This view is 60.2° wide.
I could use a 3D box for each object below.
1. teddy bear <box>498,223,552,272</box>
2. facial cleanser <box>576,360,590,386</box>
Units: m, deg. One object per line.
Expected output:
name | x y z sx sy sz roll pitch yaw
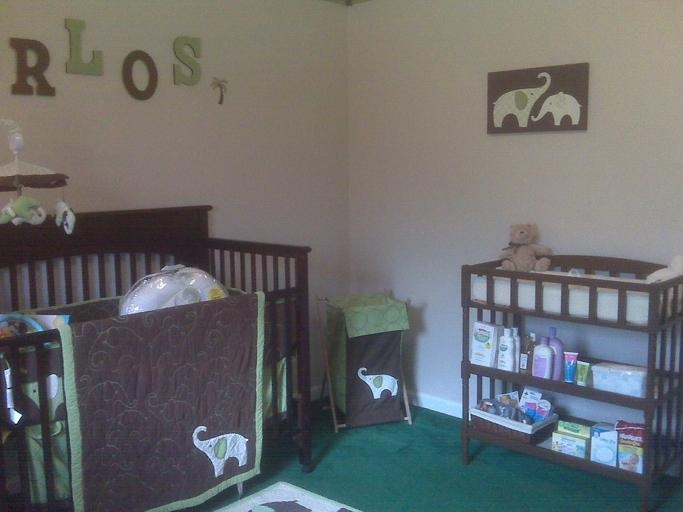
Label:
teddy bear | 0.942 -0.041 3.032 0.258 0.278 0.133 -4 -13 30
facial cleanser | 1.142 0.537 2.774 0.059 0.106 0.186 6 14 26
